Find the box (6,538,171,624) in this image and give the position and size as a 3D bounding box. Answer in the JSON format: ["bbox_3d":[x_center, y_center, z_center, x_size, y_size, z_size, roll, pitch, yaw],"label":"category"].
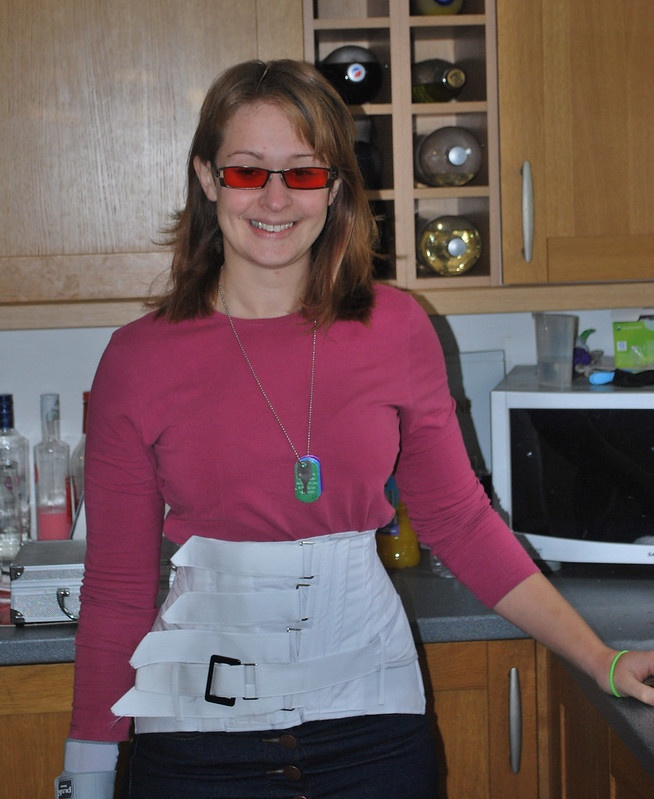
[{"bbox_3d":[-0.457,0.301,1.395,0.209,0.062,0.232,0,1,-5],"label":"box"}]

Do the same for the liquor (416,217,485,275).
[{"bbox_3d":[0.232,-0.285,1.553,0.136,0.105,0.083,3,14,-5],"label":"liquor"}]

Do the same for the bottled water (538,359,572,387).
[{"bbox_3d":[0.436,-0.049,1.560,0.065,0.037,0.057,0,1,2],"label":"bottled water"}]

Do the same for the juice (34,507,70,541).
[{"bbox_3d":[-0.567,0.256,1.734,0.093,0.078,0.080,-1,2,-18],"label":"juice"}]

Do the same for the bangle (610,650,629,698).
[{"bbox_3d":[0.324,0.309,0.923,0.015,0.041,0.050,-4,-1,22],"label":"bangle"}]

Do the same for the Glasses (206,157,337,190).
[{"bbox_3d":[-0.057,-0.257,0.969,0.143,0.034,0.048,-2,3,-6],"label":"Glasses"}]

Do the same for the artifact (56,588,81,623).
[{"bbox_3d":[-0.424,0.334,1.332,0.052,0.046,0.016,-4,-3,-10],"label":"artifact"}]

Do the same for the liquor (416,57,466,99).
[{"bbox_3d":[0.200,-0.579,1.512,0.097,0.073,0.132,2,16,-2],"label":"liquor"}]
